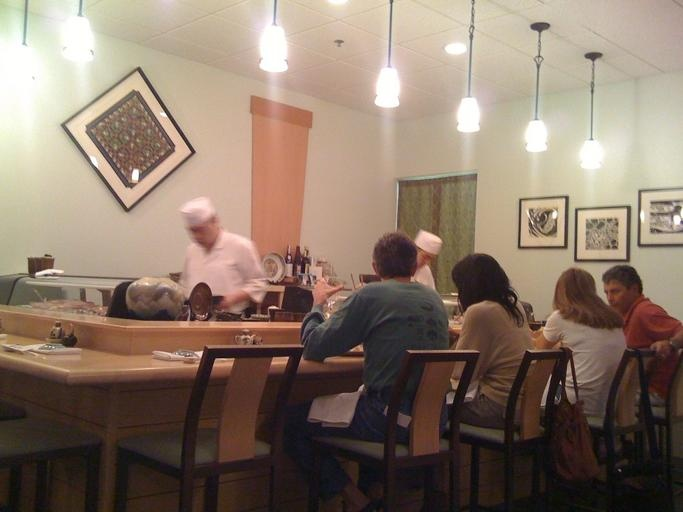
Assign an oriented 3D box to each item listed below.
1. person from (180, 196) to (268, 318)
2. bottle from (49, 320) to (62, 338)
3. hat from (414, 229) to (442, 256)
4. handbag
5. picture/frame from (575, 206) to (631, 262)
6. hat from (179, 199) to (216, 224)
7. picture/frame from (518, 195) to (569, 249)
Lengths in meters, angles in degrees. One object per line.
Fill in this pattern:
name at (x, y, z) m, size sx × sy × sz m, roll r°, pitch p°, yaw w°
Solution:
person at (-0.883, -0.018, 3.749) m, size 0.701 × 0.748 × 0.372 m, roll 1°, pitch 3°, yaw 23°
bottle at (-1.317, 0.346, 2.508) m, size 0.056 × 0.073 × 0.098 m, roll -1°, pitch 2°, yaw -28°
hat at (0.804, -0.119, 5.024) m, size 0.266 × 0.175 × 0.270 m, roll 27°, pitch 8°, yaw 2°
handbag at (1.104, 0.886, 2.575) m, size 0.203 × 0.387 × 0.125 m, roll 1°, pitch 3°, yaw 26°
picture/frame at (2.697, -0.227, 5.563) m, size 0.039 × 0.607 × 0.550 m, roll -1°, pitch 2°, yaw -37°
hat at (-0.990, -0.263, 3.695) m, size 0.183 × 0.116 × 0.188 m, roll -5°, pitch 22°, yaw 43°
picture/frame at (2.232, -0.371, 5.950) m, size 0.026 × 0.690 × 0.587 m, roll 3°, pitch -3°, yaw -43°
